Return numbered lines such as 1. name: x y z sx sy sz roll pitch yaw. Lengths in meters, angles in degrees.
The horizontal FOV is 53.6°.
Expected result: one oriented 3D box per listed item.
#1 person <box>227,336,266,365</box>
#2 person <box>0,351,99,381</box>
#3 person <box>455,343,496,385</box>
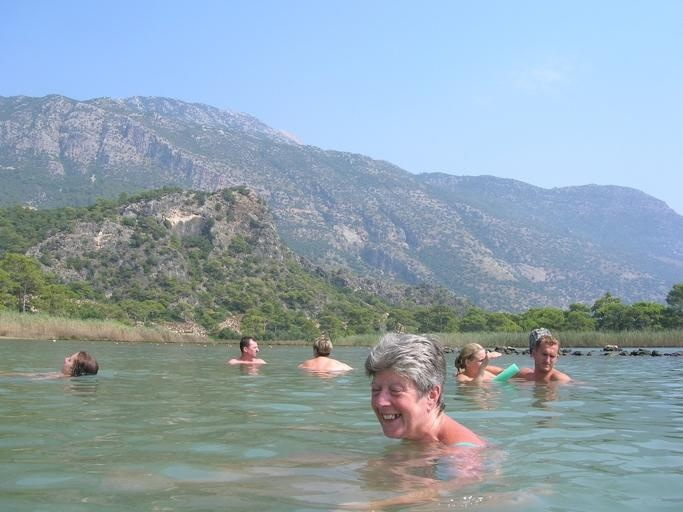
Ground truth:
1. person: -3.643 3.765 26.045 1.201 1.165 2.235 2 -3 -7
2. person: -8.080 3.284 19.078 1.819 0.531 1.139 4 -8 -6
3. person: 3.761 3.115 19.173 1.635 0.800 1.146 -1 5 -29
